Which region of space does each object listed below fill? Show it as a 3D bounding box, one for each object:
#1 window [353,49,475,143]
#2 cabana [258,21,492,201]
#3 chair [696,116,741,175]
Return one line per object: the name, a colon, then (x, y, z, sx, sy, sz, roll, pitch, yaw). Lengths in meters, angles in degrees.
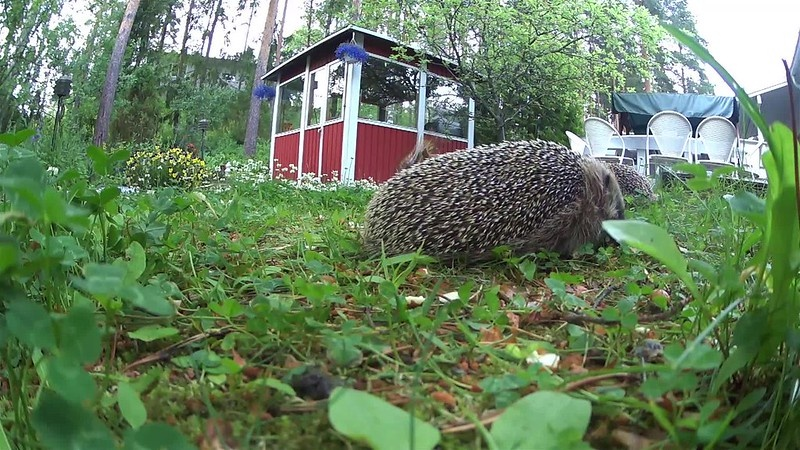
window: (0.508, -3.025, 13.140, 0.244, 2.627, 5.079, 6, 4, 44)
cabana: (-0.473, -2.918, 14.501, 5.480, 3.687, 5.287, 14, 23, 21)
chair: (5.585, -1.503, 8.787, 0.575, 0.768, 0.532, 2, -2, 25)
